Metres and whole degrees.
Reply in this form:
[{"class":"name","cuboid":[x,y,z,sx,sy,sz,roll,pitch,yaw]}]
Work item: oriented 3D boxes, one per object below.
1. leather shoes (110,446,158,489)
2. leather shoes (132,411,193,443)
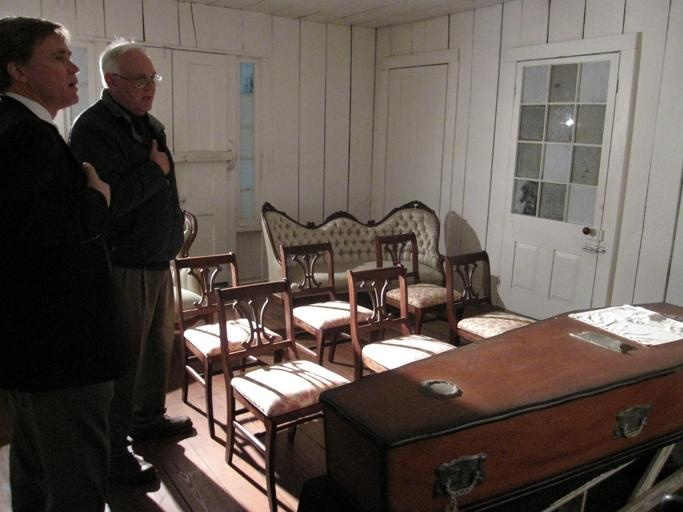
[{"class":"leather shoes","cuboid":[-1.095,1.113,2.654,0.295,0.137,0.140,4,2,21]},{"class":"leather shoes","cuboid":[-1.096,1.017,3.076,0.368,0.169,0.126,-5,10,-31]}]
